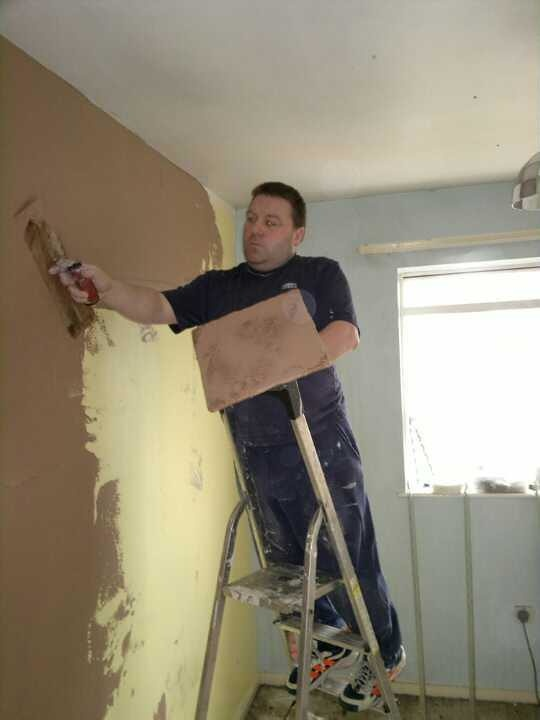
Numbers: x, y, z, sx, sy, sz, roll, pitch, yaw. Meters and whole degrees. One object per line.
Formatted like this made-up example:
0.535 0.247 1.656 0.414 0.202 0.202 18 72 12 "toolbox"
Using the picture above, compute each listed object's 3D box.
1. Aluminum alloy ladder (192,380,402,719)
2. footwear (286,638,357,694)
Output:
0.062 0.576 2.249 0.504 0.989 0.637 -4 -5 29 "Aluminum alloy ladder"
0.153 0.973 2.530 0.272 0.106 0.095 -18 8 -28 "footwear"
